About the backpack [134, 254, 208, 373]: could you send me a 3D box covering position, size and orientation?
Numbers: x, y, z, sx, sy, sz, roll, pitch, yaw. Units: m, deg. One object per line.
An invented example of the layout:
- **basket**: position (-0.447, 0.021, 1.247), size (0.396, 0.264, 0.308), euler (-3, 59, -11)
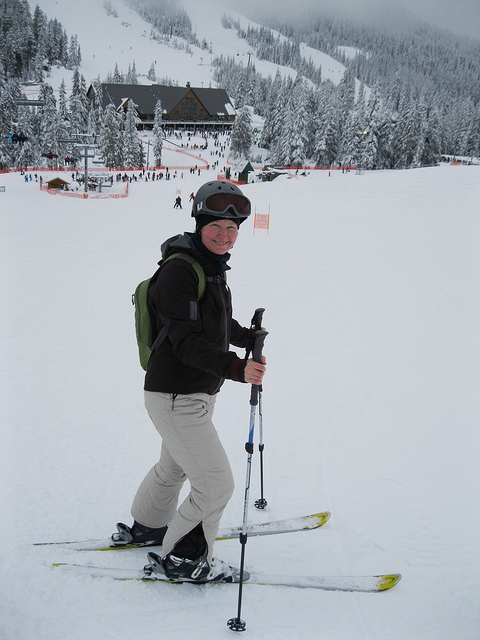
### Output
- **backpack**: position (-0.575, -0.012, 5.142), size (0.395, 0.726, 0.466), euler (0, 2, 5)
